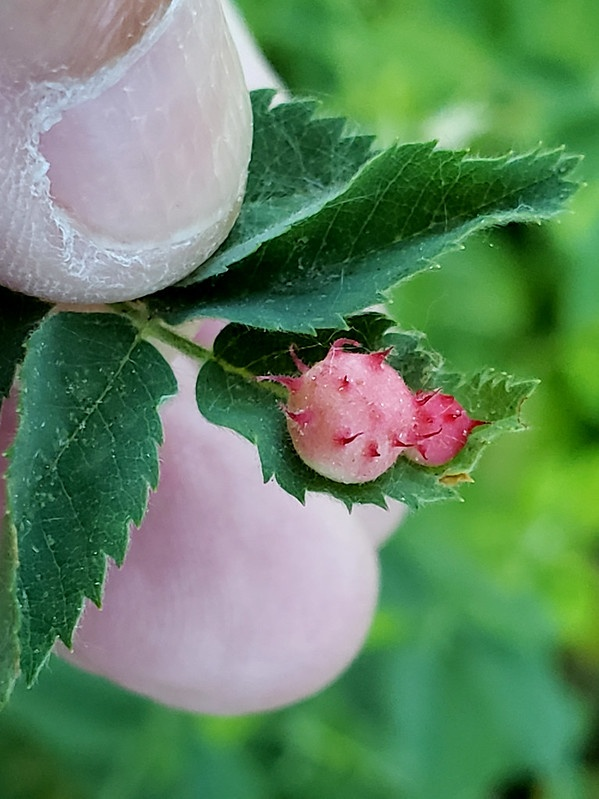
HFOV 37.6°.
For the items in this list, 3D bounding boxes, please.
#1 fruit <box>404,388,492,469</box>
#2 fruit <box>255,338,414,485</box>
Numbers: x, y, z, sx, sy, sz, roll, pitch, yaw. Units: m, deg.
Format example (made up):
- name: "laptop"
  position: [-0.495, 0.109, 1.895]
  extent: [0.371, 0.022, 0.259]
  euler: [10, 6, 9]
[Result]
- name: "fruit"
  position: [0.091, 0.016, 0.587]
  extent: [0.065, 0.037, 0.056]
  euler: [6, 18, 9]
- name: "fruit"
  position: [0.027, -0.004, 0.564]
  extent: [0.111, 0.053, 0.098]
  euler: [6, 63, 7]
